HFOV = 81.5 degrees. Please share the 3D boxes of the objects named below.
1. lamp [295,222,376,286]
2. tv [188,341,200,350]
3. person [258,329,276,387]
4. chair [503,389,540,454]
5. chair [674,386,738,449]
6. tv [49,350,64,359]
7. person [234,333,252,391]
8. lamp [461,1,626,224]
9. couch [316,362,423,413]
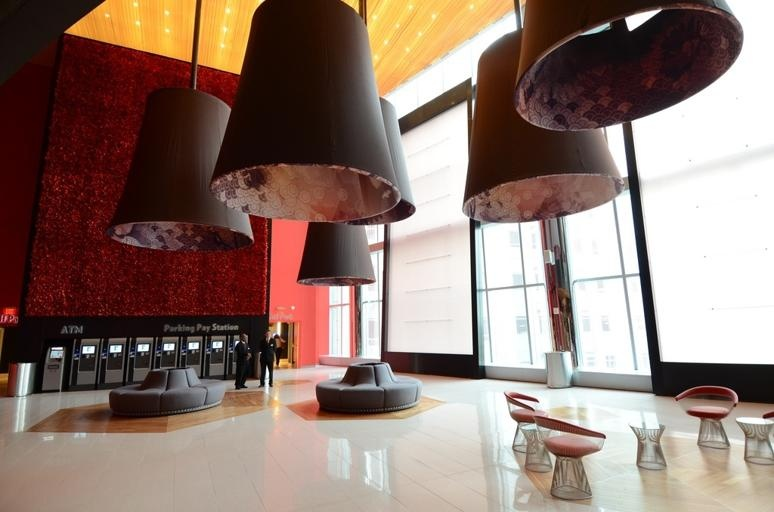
[{"bbox_3d":[-0.947,-0.056,8.548,1.312,1.155,1.457,-6,-7,43],"label":"lamp"},{"bbox_3d":[-5.561,2.553,12.801,0.257,0.181,0.035,3,-13,-23],"label":"tv"},{"bbox_3d":[-3.383,2.841,12.579,0.413,1.501,1.731,0,-5,-15],"label":"person"},{"bbox_3d":[1.948,2.361,6.375,0.514,0.729,0.597,3,-5,2],"label":"chair"},{"bbox_3d":[4.845,2.460,6.781,0.698,0.712,0.534,-12,-31,40],"label":"chair"},{"bbox_3d":[-8.410,2.487,11.335,0.205,0.201,0.106,4,-23,-33],"label":"tv"},{"bbox_3d":[-3.900,2.765,11.976,0.352,1.331,1.126,1,-5,-18],"label":"person"},{"bbox_3d":[1.158,-1.292,4.856,1.819,2.016,1.872,-1,-11,-10],"label":"lamp"},{"bbox_3d":[-0.368,2.582,8.801,2.033,0.834,0.875,0,-5,-9],"label":"couch"}]
